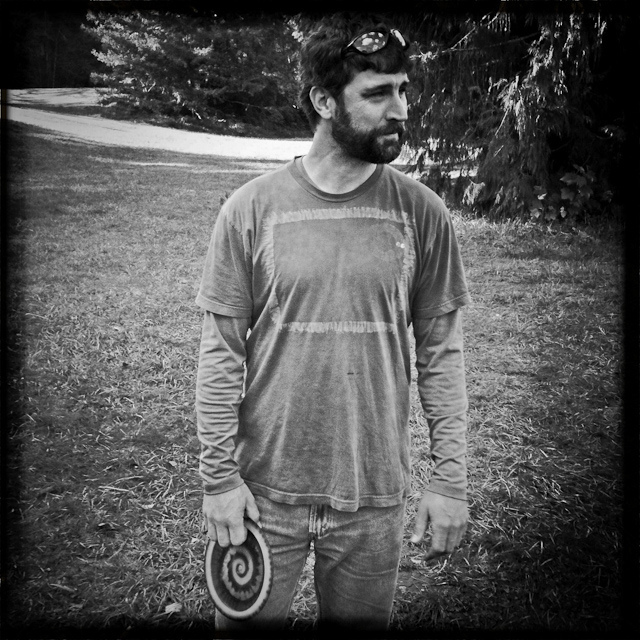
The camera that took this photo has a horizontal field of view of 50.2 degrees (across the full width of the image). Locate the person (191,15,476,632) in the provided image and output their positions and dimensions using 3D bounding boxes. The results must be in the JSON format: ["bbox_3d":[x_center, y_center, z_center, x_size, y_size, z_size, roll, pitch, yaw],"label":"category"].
[{"bbox_3d":[0.049,0.066,1.980,0.792,1.844,0.380,1,9,-12],"label":"person"}]

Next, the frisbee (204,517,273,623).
[{"bbox_3d":[-0.231,0.713,1.972,0.246,0.370,0.035,-6,-5,20],"label":"frisbee"}]

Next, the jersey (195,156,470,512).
[{"bbox_3d":[0.058,0.005,2.052,0.667,1.027,0.429,4,23,8],"label":"jersey"}]
